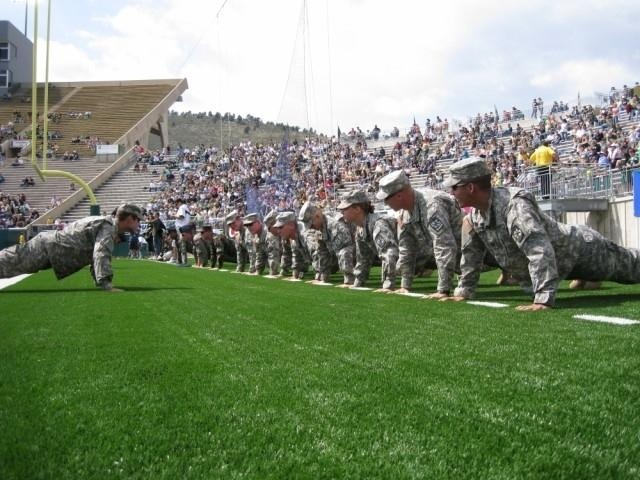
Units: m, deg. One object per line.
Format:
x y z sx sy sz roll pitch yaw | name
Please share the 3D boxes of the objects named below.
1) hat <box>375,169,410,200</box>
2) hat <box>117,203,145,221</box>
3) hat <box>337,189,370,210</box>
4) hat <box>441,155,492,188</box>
0.818 -0.619 7.253 0.326 0.337 0.354 -6 8 -36 | hat
-2.473 -0.370 8.393 0.199 0.165 0.293 4 4 43 | hat
0.460 -0.540 8.505 0.333 0.176 0.242 -5 1 -1 | hat
1.351 -0.617 5.839 0.336 0.189 0.277 -9 3 19 | hat
